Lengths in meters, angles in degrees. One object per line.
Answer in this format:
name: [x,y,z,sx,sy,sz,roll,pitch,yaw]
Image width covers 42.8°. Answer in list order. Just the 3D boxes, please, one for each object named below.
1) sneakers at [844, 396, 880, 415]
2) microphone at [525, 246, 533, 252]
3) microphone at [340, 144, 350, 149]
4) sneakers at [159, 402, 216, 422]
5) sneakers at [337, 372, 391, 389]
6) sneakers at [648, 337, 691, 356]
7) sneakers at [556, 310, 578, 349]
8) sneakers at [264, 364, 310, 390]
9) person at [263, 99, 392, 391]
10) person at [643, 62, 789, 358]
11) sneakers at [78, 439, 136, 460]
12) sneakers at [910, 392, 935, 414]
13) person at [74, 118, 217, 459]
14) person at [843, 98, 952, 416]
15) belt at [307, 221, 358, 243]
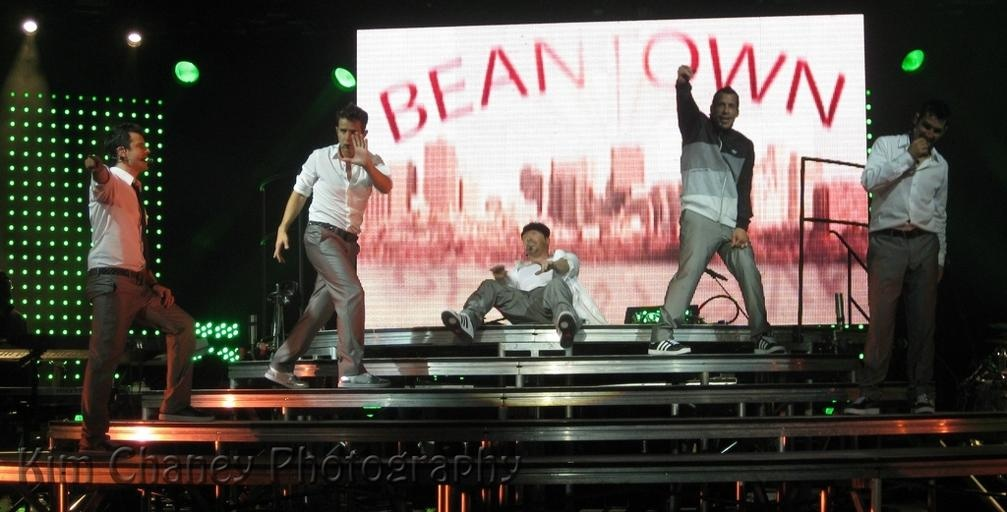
sneakers: [4.203,1.782,15.119,0.505,0.183,0.169,1,-3,5]
microphone: [0.358,-0.086,17.281,0.076,0.045,0.068,0,-6,4]
microphone: [-1.898,-1.316,15.479,0.156,0.061,0.050,-6,-12,36]
sneakers: [-3.710,1.861,15.227,0.676,0.197,0.223,1,-6,-7]
sneakers: [-1.651,1.486,15.370,0.560,0.164,0.215,1,-8,-7]
sneakers: [2.020,1.122,15.643,0.517,0.180,0.197,-1,-7,7]
sneakers: [0.783,0.911,15.877,0.278,0.428,0.202,1,5,2]
sneakers: [-2.643,1.500,15.559,0.595,0.219,0.224,21,6,-18]
person: [-2.056,-0.102,15.548,1.338,3.382,0.723,-2,-11,14]
person: [2.578,-0.493,15.819,1.439,3.378,0.595,0,-11,2]
sneakers: [-4.579,2.252,14.913,0.772,0.229,0.234,1,-5,-6]
sneakers: [4.924,1.729,15.171,0.231,0.208,0.106,0,-10,2]
person: [-4.317,0.640,15.066,1.304,3.297,0.662,6,-12,-27]
person: [4.708,0.046,15.210,1.159,3.634,0.881,-2,-11,14]
belt: [-2.032,-0.304,15.557,0.373,0.075,0.320,15,-6,22]
